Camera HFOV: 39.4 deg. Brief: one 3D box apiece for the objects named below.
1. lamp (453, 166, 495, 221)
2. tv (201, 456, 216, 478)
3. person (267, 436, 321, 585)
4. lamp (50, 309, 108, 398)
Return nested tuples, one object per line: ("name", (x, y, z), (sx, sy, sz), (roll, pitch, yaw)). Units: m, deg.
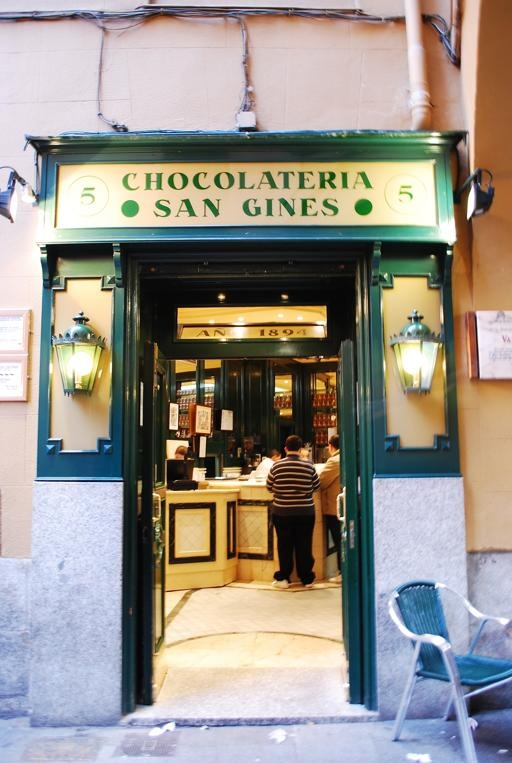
("lamp", (1.302, -1.116, 4.131), (0.134, 0.353, 0.245), (5, -6, -12))
("tv", (-0.690, 1.256, 10.680), (0.158, 0.305, 0.230), (-1, -3, -1))
("person", (0.369, 1.288, 7.102), (0.520, 1.493, 0.506), (-1, -4, 3))
("lamp", (-1.023, -0.168, 4.097), (0.255, 0.489, 0.199), (-2, -4, 12))
